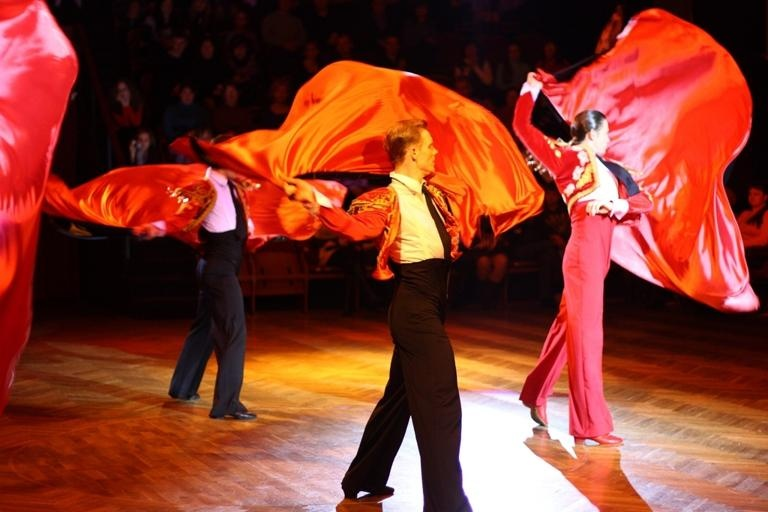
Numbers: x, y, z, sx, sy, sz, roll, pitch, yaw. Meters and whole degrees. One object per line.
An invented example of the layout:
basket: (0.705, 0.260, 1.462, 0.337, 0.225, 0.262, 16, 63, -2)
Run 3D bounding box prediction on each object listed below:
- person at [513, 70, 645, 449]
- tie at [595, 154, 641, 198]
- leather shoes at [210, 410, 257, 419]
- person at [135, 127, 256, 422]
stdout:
person: (1.654, -0.016, 6.099, 0.611, 3.070, 0.973, -5, 9, -35)
tie: (1.915, -0.647, 6.092, 0.392, 0.138, 0.291, 40, 17, 13)
leather shoes: (-1.404, 1.446, 6.607, 0.429, 0.132, 0.127, -2, -11, 0)
person: (-1.565, 0.317, 6.737, 0.691, 2.278, 1.014, -4, 9, -31)
